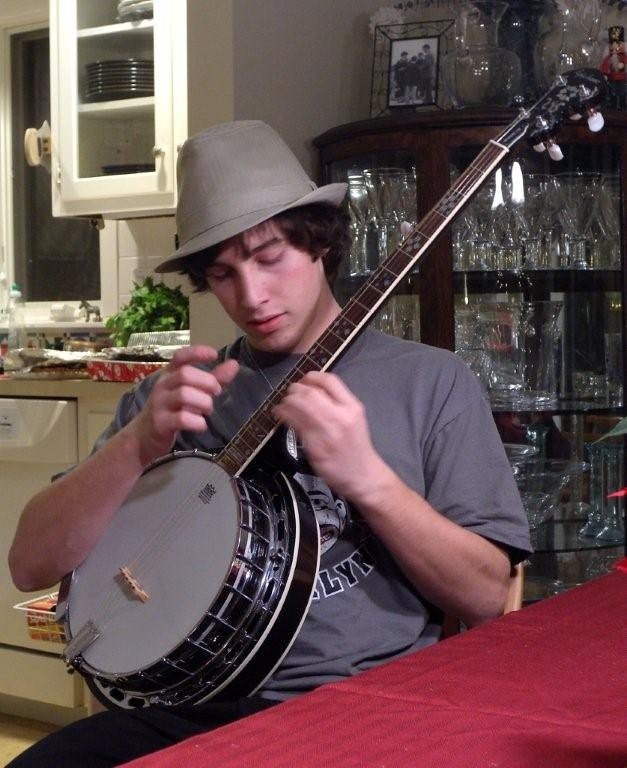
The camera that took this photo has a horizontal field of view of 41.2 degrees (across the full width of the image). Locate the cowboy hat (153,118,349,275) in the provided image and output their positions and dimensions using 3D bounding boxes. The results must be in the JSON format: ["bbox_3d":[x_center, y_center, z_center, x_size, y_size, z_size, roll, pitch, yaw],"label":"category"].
[{"bbox_3d":[-0.077,-0.244,1.120,0.200,0.114,0.191,-26,6,11],"label":"cowboy hat"}]

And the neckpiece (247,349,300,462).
[{"bbox_3d":[-0.053,0.028,1.050,0.048,0.145,0.019,-24,-3,4],"label":"neckpiece"}]

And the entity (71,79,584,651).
[{"bbox_3d":[0.111,0.022,1.024,0.106,0.883,0.316,39,0,-34],"label":"entity"}]

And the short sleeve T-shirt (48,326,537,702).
[{"bbox_3d":[0.008,0.189,1.057,0.460,0.486,0.142,-27,-39,11],"label":"short sleeve T-shirt"}]
